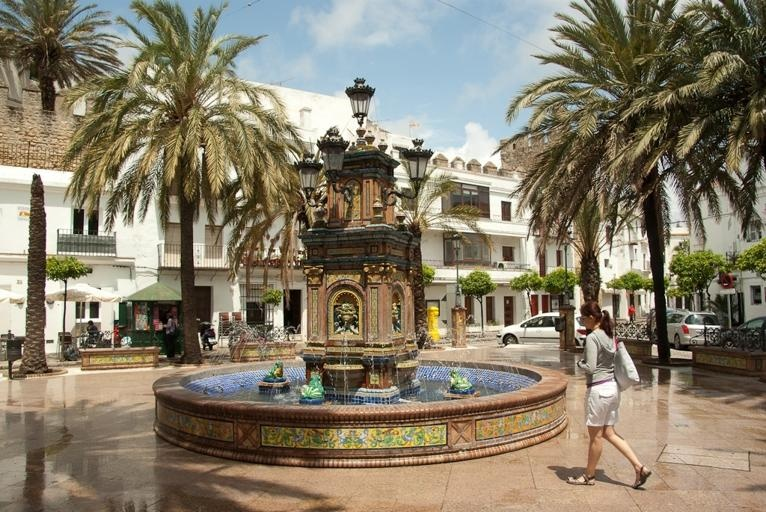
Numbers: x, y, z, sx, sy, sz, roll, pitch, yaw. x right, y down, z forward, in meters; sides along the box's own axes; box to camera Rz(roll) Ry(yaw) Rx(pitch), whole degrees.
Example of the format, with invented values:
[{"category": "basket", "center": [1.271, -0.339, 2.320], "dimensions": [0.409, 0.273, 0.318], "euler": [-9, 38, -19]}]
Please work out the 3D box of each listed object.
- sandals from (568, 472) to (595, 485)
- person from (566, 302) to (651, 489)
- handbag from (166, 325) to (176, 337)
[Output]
[{"category": "sandals", "center": [3.569, 3.966, 11.160], "dimensions": [0.407, 0.189, 0.218], "euler": [1, -15, 14]}, {"category": "person", "center": [3.946, 2.451, 11.088], "dimensions": [1.144, 3.220, 0.540], "euler": [0, 3, 18]}, {"category": "handbag", "center": [-9.077, 3.138, 26.526], "dimensions": [0.369, 0.410, 0.475], "euler": [-2, 3, -23]}]
